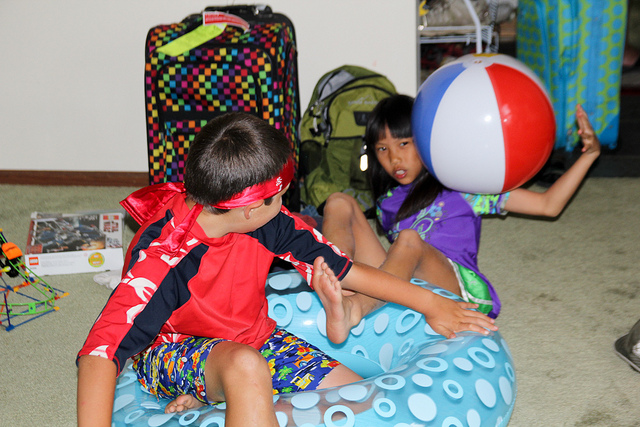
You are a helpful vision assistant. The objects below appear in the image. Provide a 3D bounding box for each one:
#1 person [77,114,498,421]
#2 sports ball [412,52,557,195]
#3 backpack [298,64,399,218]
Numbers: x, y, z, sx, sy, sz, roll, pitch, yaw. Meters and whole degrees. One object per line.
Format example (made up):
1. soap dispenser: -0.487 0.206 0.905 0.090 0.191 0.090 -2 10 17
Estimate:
1. person: -0.171 0.134 1.457 0.968 0.773 0.526 -8 19 -13
2. sports ball: 0.566 -0.266 1.804 0.417 0.439 0.423 -8 6 1
3. backpack: 0.112 -0.362 2.606 0.460 0.688 0.433 -1 23 -6
